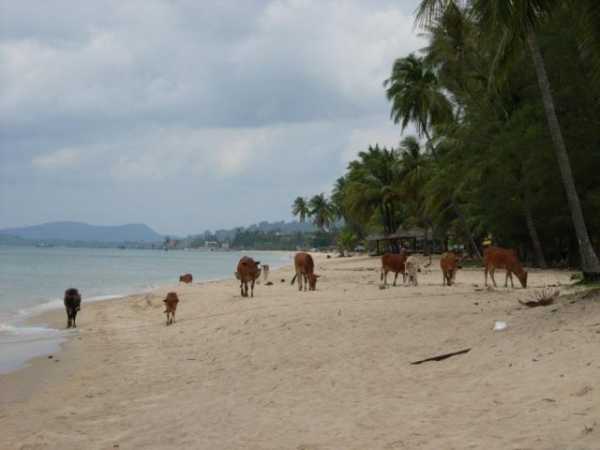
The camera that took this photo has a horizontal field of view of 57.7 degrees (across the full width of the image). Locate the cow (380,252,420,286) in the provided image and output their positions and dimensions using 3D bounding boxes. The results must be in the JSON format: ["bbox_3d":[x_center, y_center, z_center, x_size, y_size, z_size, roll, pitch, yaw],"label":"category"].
[{"bbox_3d":[3.934,1.693,21.580,1.333,1.435,1.045,-4,9,0],"label":"cow"}]

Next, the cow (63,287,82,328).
[{"bbox_3d":[-8.228,2.935,19.772,0.465,1.225,1.992,0,5,-33],"label":"cow"}]

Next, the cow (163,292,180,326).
[{"bbox_3d":[-4.270,2.642,18.239,0.440,1.010,1.680,1,10,-5],"label":"cow"}]

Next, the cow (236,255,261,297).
[{"bbox_3d":[-1.967,1.976,20.414,0.593,1.337,2.290,-3,-7,-16],"label":"cow"}]
